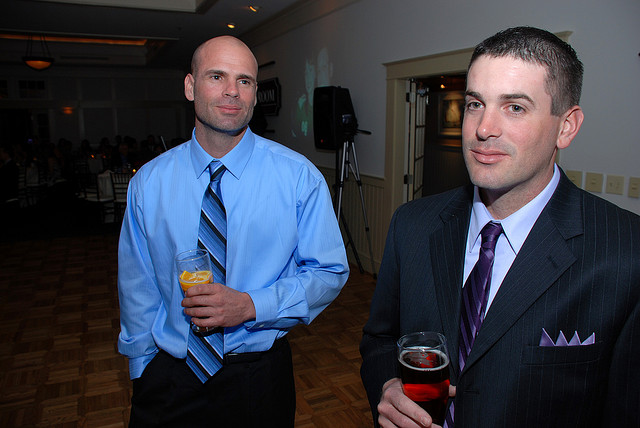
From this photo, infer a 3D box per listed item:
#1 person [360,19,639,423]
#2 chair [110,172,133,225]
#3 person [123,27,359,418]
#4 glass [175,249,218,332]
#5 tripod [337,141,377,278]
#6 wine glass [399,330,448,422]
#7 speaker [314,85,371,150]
[{"bbox_3d":[0.578,0.061,1.428,0.848,1.292,0.488,1,13,6],"label":"person"},{"bbox_3d":[-3.704,-0.282,8.103,0.413,1.068,0.932,-7,15,-26],"label":"chair"},{"bbox_3d":[-0.433,0.068,1.979,1.030,1.722,0.626,3,13,14],"label":"person"},{"bbox_3d":[-0.519,0.329,1.809,0.146,0.338,0.150,-5,13,-19],"label":"glass"},{"bbox_3d":[0.465,-0.051,5.394,0.464,1.703,0.941,1,13,7],"label":"tripod"},{"bbox_3d":[0.345,0.499,1.362,0.203,0.258,0.114,-6,13,-20],"label":"wine glass"},{"bbox_3d":[0.264,-1.202,5.414,0.698,0.752,0.524,-5,12,-32],"label":"speaker"}]
